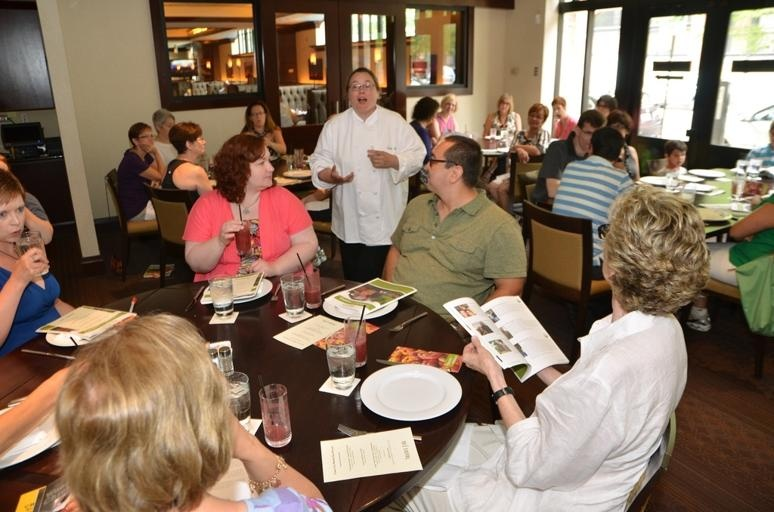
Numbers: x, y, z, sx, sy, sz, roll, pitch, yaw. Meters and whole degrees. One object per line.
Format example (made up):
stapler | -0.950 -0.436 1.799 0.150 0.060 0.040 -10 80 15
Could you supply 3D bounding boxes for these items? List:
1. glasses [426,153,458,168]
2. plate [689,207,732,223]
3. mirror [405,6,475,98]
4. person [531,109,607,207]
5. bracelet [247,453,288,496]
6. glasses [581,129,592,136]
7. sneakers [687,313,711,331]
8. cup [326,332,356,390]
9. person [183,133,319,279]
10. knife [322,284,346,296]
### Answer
glasses | 0.294 -0.539 3.037 0.080 0.078 0.233 -19 27 -37
plate | 1.975 -0.254 3.299 0.222 0.045 0.227 3 22 4
mirror | 0.836 -3.286 8.614 1.242 1.298 0.315 -18 26 -36
person | 1.651 -0.810 4.793 0.507 0.911 0.481 -1 38 -17
bracelet | -0.399 0.698 1.764 0.126 0.131 0.042 -17 15 11
glasses | 1.706 -1.073 4.644 0.093 0.047 0.124 0 3 7
sneakers | 2.358 0.478 4.126 0.161 0.170 0.104 1 8 28
cup | -0.181 0.415 2.225 0.110 0.182 0.167 -3 21 -3
person | -0.787 -0.286 3.141 0.659 0.771 0.578 8 23 23
knife | -0.272 0.171 2.826 0.020 0.021 0.135 -7 8 42
